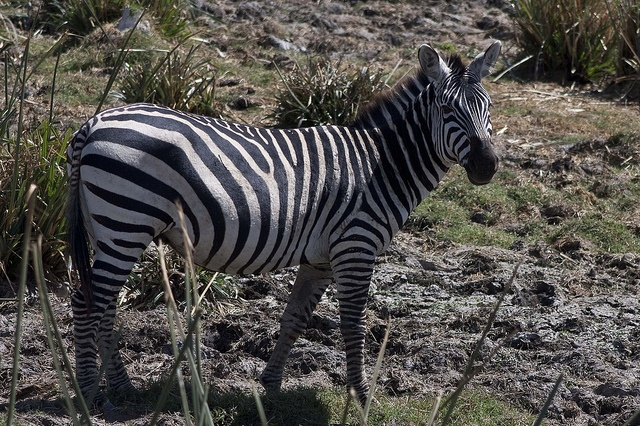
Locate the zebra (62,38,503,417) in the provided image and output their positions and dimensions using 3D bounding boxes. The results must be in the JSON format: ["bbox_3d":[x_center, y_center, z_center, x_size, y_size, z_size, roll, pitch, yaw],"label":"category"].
[{"bbox_3d":[-0.340,0.294,9.500,4.239,3.698,1.368,0,0,-16],"label":"zebra"}]
